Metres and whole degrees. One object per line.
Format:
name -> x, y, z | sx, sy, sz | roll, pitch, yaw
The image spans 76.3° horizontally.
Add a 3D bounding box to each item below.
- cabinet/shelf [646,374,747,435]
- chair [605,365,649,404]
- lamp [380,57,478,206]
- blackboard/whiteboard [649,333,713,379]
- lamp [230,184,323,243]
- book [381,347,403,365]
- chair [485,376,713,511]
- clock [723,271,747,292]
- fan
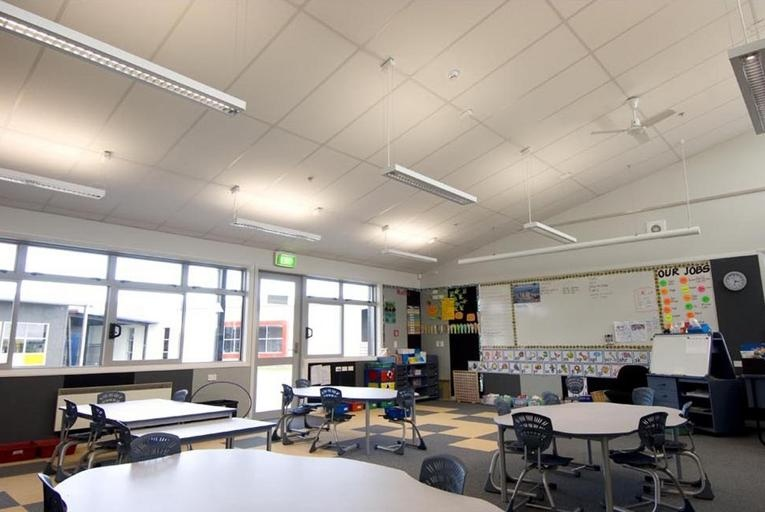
cabinet/shelf -> 5.518, 2.601, 8.482 | 0.689, 0.849, 1.237 | 5, -9, -9
chair -> 4.974, 2.691, 10.340 | 0.963, 1.041, 0.790 | 17, -18, -42
lamp -> 0.620, -1.822, 7.881 | 1.477, 2.098, 2.381 | -1, 0, 20
blackboard/whiteboard -> 5.780, 1.949, 9.405 | 0.280, 0.690, 0.823 | 23, -18, -23
lamp -> -2.036, -0.844, 9.291 | 0.818, 0.296, 2.107 | 9, 1, 45
book -> 0.225, 2.596, 12.544 | 0.354, 0.402, 0.609 | 1, -5, -26
chair -> 2.759, 2.633, 6.582 | 2.392, 1.296, 1.546 | -2, 0, -25
clock -> 6.963, 0.512, 9.694 | 0.374, 0.347, 0.102 | -1, 0, 34
fan -> 4.404, -2.296, 8.491 | 1.025, 0.445, 0.990 | -13, 10, -7
